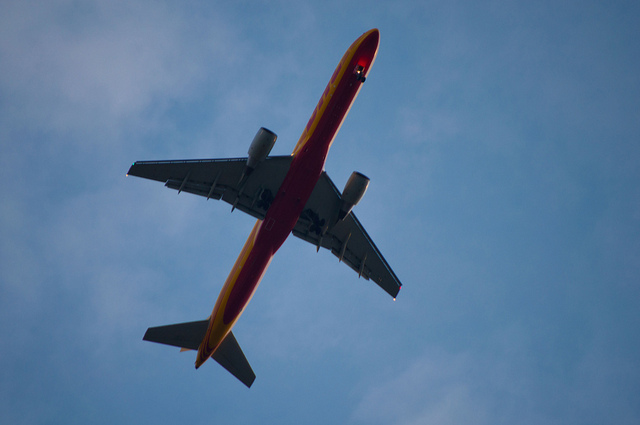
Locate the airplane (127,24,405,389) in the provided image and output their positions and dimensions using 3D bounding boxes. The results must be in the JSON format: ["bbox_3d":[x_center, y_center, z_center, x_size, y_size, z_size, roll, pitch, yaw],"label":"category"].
[{"bbox_3d":[-5.773,-2.792,78.491,21.678,8.401,28.304,29,-88,-22],"label":"airplane"}]
